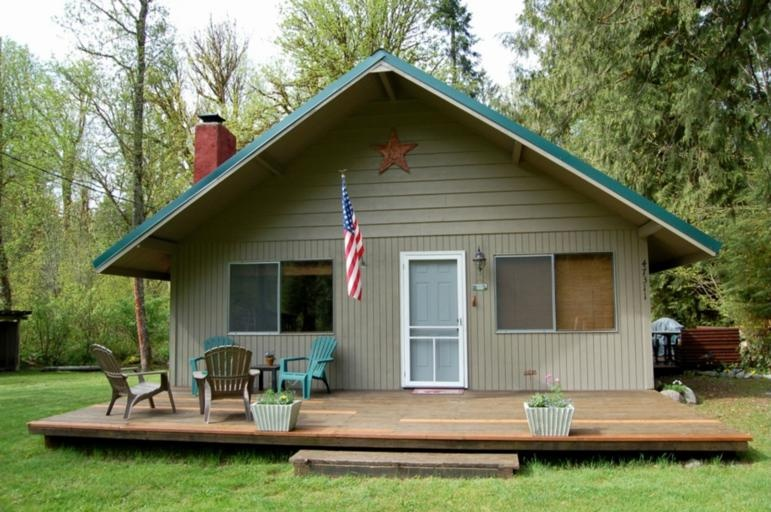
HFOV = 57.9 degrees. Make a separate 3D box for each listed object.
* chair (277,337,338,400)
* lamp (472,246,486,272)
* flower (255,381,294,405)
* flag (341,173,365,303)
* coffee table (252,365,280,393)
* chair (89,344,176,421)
[{"bbox_3d":[-1.764,2.549,16.222,0.951,1.294,1.336,0,-5,31],"label":"chair"},{"bbox_3d":[2.234,0.091,16.492,0.302,0.551,0.153,-1,-9,8],"label":"lamp"},{"bbox_3d":[-2.178,2.837,13.935,0.637,0.265,0.635,-1,-5,10],"label":"flower"},{"bbox_3d":[-0.773,-0.551,16.340,0.582,3.087,1.221,1,-9,-4],"label":"flag"},{"bbox_3d":[-2.782,2.879,16.425,0.651,0.699,0.692,-1,-9,8],"label":"coffee table"},{"bbox_3d":[-5.483,2.648,15.008,1.627,1.539,1.286,3,-6,-41],"label":"chair"}]
